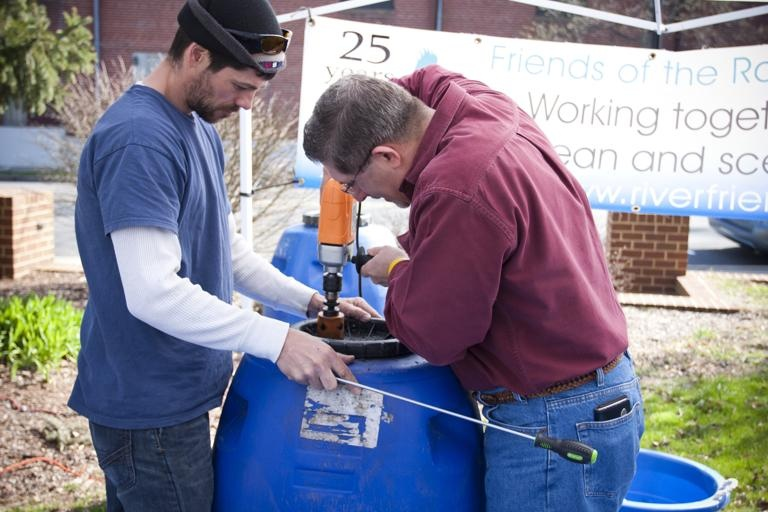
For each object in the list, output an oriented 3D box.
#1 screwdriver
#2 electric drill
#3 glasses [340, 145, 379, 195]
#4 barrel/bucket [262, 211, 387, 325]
[{"bbox_3d":[0.394,0.785,3.934,1.104,0.083,0.074,21,16,9],"label":"screwdriver"},{"bbox_3d":[-0.253,0.001,4.173,0.205,0.771,0.257,-2,13,-10],"label":"electric drill"},{"bbox_3d":[-0.116,-0.409,3.915,0.049,0.186,0.173,32,-3,-5],"label":"glasses"},{"bbox_3d":[-0.344,0.017,5.620,0.769,1.022,0.565,4,8,14],"label":"barrel/bucket"}]
